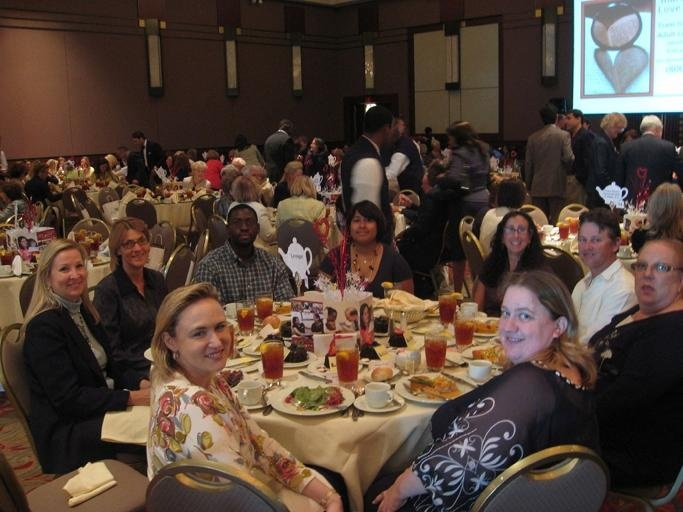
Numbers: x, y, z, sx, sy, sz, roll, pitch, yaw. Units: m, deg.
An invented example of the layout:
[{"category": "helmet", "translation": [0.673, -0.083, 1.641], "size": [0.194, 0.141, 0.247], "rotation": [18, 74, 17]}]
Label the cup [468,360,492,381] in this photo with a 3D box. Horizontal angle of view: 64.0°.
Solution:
[{"category": "cup", "translation": [0.570, 0.466, 2.231], "size": [0.069, 0.062, 0.078], "rotation": [-2, -3, -6]}]

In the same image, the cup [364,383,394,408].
[{"category": "cup", "translation": [0.146, 0.532, 2.110], "size": [0.089, 0.064, 0.072], "rotation": [3, 7, 40]}]

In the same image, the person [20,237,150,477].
[{"category": "person", "translation": [-1.220, 0.446, 2.546], "size": [0.516, 1.000, 0.571], "rotation": [-9, 13, -15]}]

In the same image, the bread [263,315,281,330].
[{"category": "bread", "translation": [-0.358, 0.324, 2.763], "size": [0.061, 0.082, 0.065], "rotation": [11, 17, -4]}]

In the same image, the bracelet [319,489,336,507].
[{"category": "bracelet", "translation": [-0.051, 0.862, 1.932], "size": [0.042, 0.046, 0.042], "rotation": [-10, -23, 42]}]

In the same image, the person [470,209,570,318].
[{"category": "person", "translation": [1.062, 0.122, 3.358], "size": [0.488, 0.829, 0.459], "rotation": [3, 6, 31]}]

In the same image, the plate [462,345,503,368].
[{"category": "plate", "translation": [0.633, 0.433, 2.420], "size": [0.117, 0.027, 0.122], "rotation": [4, 17, 27]}]
